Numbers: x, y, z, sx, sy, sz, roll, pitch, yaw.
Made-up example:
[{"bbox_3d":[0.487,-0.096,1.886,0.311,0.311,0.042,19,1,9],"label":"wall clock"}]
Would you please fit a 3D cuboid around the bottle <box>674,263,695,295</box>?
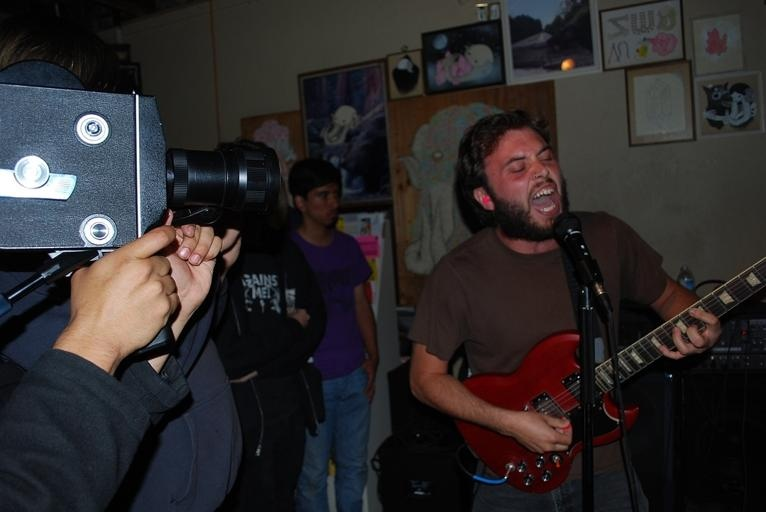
[{"bbox_3d":[1.744,0.136,3.364,0.083,0.162,0.042,-12,-14,12],"label":"bottle"}]
